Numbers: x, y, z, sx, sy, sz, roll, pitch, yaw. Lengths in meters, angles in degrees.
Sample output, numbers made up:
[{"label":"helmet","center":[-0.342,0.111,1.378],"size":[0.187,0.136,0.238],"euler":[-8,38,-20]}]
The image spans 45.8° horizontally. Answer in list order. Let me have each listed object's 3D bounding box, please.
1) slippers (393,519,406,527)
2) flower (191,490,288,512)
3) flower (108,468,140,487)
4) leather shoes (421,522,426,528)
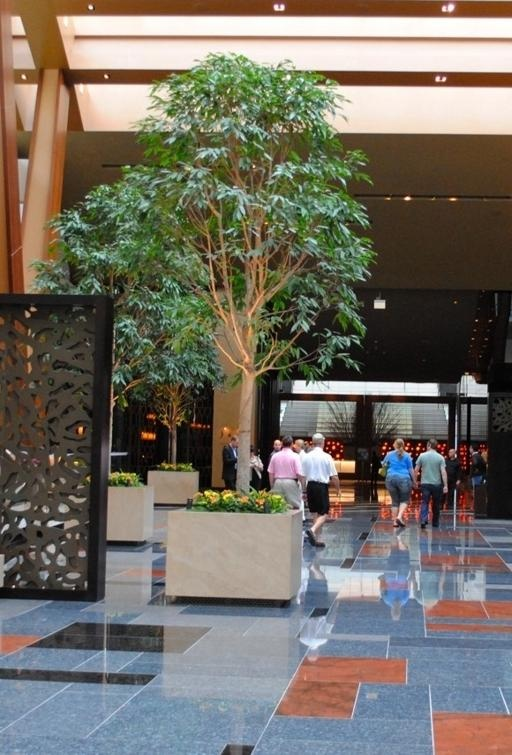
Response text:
[{"label":"slippers","center":[2.955,3.028,12.503],"size":[0.121,0.166,0.370],"euler":[40,3,34]},{"label":"flower","center":[-0.161,1.206,5.777],"size":[0.964,0.191,0.725],"euler":[1,-3,-7]},{"label":"flower","center":[-2.122,1.640,9.772],"size":[0.462,0.272,0.466],"euler":[2,2,4]},{"label":"leather shoes","center":[3.472,3.058,12.517],"size":[0.092,0.118,0.168],"euler":[-1,1,10]}]
